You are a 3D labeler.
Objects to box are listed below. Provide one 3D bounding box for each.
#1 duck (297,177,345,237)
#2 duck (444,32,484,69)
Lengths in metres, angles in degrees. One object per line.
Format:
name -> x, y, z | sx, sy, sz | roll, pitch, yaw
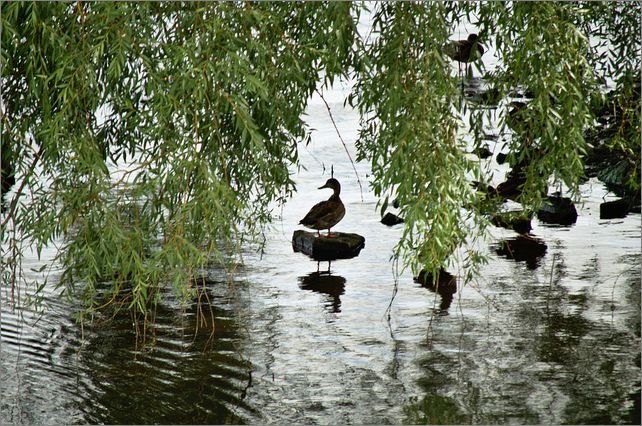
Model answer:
duck -> 0.002, -0.084, 11.944 | 0.636, 0.784, 0.426 | -7, 7, -16
duck -> 1.210, -1.391, 7.756 | 0.360, 0.289, 0.220 | 4, 11, 13
